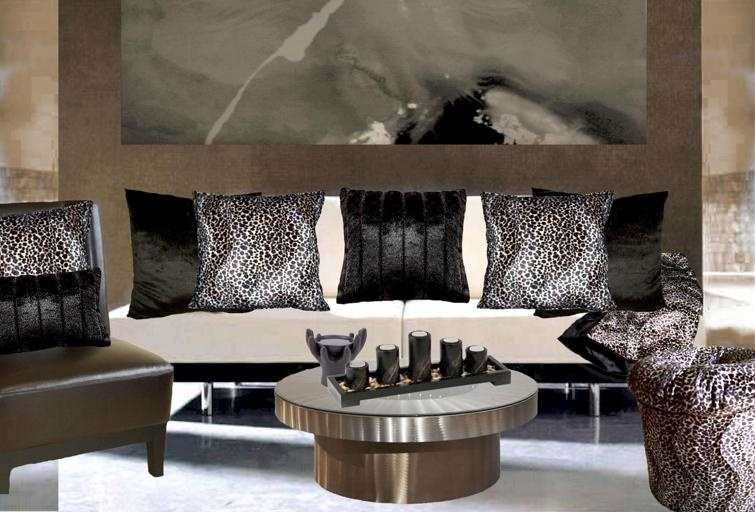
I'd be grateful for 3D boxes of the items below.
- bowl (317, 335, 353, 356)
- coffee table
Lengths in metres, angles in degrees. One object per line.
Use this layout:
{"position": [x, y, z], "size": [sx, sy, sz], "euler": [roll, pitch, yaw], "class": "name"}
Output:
{"position": [-0.217, 0.440, 4.067], "size": [0.175, 0.084, 0.134], "euler": [1, 1, -5], "class": "bowl"}
{"position": [0.122, 0.874, 4.004], "size": [1.250, 0.648, 0.545], "euler": [2, 2, 12], "class": "coffee table"}
